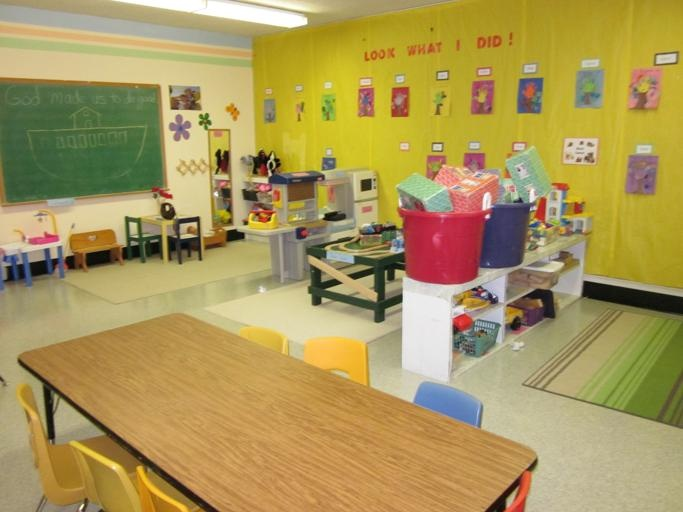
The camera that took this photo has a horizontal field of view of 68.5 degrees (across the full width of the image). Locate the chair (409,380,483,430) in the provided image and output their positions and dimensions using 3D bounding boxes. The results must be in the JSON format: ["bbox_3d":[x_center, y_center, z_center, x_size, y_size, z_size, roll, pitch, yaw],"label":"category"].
[{"bbox_3d":[0.516,0.656,2.432,0.254,0.314,0.266,5,3,28],"label":"chair"}]

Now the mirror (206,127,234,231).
[{"bbox_3d":[-2.007,-1.312,8.410,0.162,1.601,0.560,11,23,37],"label":"mirror"}]

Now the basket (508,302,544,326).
[{"bbox_3d":[1.848,0.553,4.973,0.280,0.145,0.268,-11,13,-39],"label":"basket"}]

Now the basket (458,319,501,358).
[{"bbox_3d":[1.220,0.720,4.489,0.418,0.188,0.275,-8,12,-44],"label":"basket"}]

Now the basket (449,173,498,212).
[{"bbox_3d":[0.993,-0.465,3.715,0.313,0.220,0.573,14,22,42],"label":"basket"}]

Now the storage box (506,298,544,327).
[{"bbox_3d":[1.823,0.536,4.958,0.335,0.172,0.325,-10,13,-41],"label":"storage box"}]

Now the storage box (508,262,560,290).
[{"bbox_3d":[1.842,0.149,4.765,0.344,0.094,0.335,-10,13,-42],"label":"storage box"}]

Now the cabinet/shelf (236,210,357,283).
[{"bbox_3d":[-0.525,-0.120,6.382,0.371,0.426,1.133,11,17,42],"label":"cabinet/shelf"}]

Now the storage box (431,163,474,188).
[{"bbox_3d":[0.919,-0.641,3.945,0.229,0.089,0.310,14,27,40],"label":"storage box"}]

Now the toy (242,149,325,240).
[{"bbox_3d":[-0.796,-0.914,7.188,0.759,0.890,1.711,10,16,40],"label":"toy"}]

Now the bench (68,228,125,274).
[{"bbox_3d":[-3.428,-0.097,7.069,0.335,0.433,0.731,17,16,23],"label":"bench"}]

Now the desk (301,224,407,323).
[{"bbox_3d":[0.367,0.122,5.637,1.088,0.637,1.166,8,14,40],"label":"desk"}]

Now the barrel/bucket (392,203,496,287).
[{"bbox_3d":[0.757,-0.100,4.012,0.865,0.520,0.800,0,4,0],"label":"barrel/bucket"}]

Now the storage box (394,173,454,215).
[{"bbox_3d":[0.766,-0.471,3.784,0.417,0.282,0.663,-4,8,-27],"label":"storage box"}]

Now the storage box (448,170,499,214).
[{"bbox_3d":[0.991,-0.468,3.715,0.571,0.220,0.323,-18,24,-42],"label":"storage box"}]

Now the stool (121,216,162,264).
[{"bbox_3d":[-2.997,-0.265,7.422,0.551,0.775,0.524,-18,28,-42],"label":"stool"}]
